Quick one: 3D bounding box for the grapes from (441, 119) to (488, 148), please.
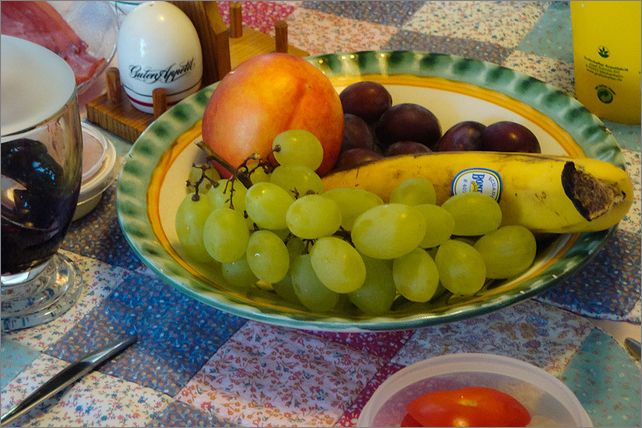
[{"bbox_3d":[0.229,-0.122,0.933,0.055,0.054,0.045,-17,25,-33],"label":"grapes"}]

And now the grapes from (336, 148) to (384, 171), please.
[{"bbox_3d":[0.057,-0.087,0.904,0.056,0.037,0.041,5,58,20],"label":"grapes"}]

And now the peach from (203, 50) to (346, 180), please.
[{"bbox_3d":[-0.075,-0.143,0.977,0.187,0.195,0.203,29,38,-5],"label":"peach"}]
